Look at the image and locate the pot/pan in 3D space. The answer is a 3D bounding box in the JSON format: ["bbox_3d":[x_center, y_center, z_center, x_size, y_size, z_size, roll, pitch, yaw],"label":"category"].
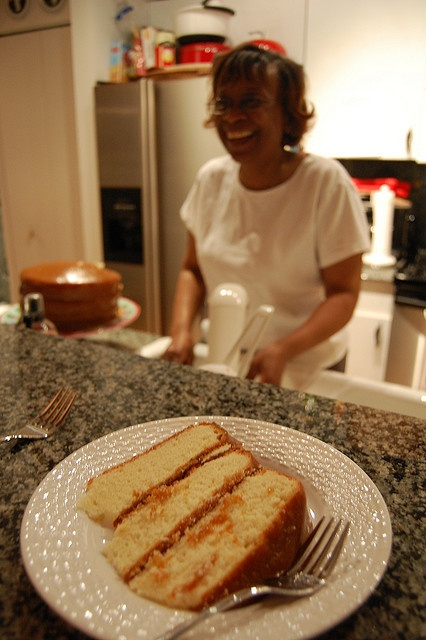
[{"bbox_3d":[-0.017,-1.130,1.879,0.194,0.074,0.168,-22,39,-34],"label":"pot/pan"}]

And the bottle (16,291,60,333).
[{"bbox_3d":[-0.259,-0.012,0.720,0.038,0.073,0.038,3,24,-1],"label":"bottle"}]
